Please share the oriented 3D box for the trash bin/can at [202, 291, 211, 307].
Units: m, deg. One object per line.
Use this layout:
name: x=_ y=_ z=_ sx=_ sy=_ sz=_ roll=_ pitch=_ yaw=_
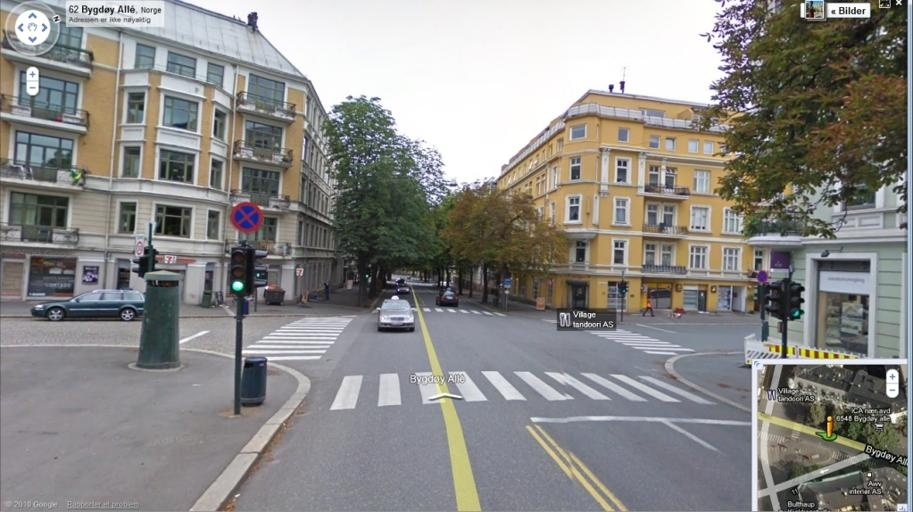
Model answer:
trash bin/can: x=-14.952 y=2.596 z=42.283 sx=0.554 sy=0.962 sz=0.638 roll=4 pitch=-4 yaw=-22
